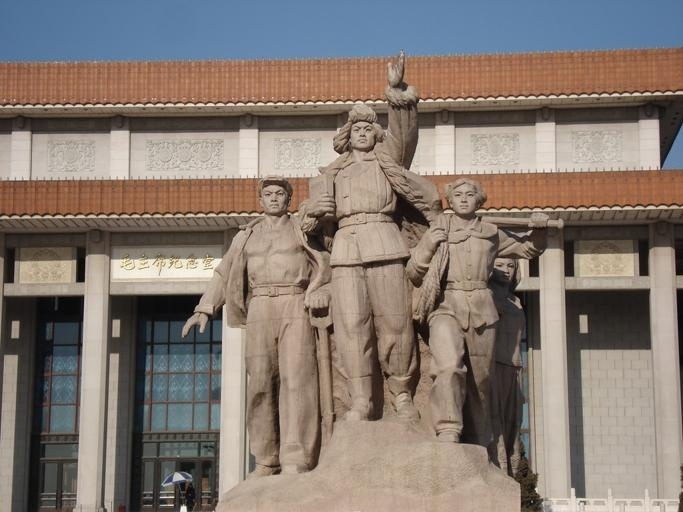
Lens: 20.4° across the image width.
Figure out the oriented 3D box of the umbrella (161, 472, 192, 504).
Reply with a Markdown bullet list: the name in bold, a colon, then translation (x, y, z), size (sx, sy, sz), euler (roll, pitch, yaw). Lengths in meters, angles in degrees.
- **umbrella**: translation (-5.643, 7.968, 65.457), size (0.867, 0.981, 0.808), euler (-9, 4, 27)
